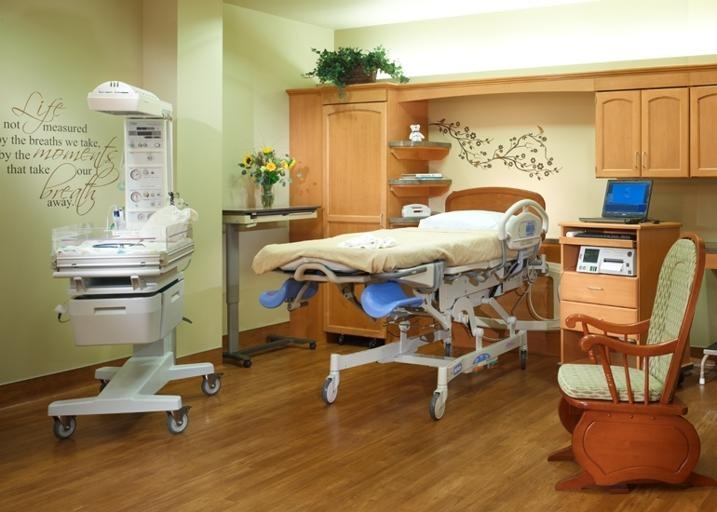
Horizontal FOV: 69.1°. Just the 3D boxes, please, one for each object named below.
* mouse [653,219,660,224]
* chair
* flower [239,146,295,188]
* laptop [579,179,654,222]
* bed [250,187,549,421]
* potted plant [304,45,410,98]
[{"bbox_3d":[2.462,-0.289,4.300,0.063,0.027,0.097,6,9,42],"label":"mouse"},{"bbox_3d":[1.441,0.544,2.801,0.670,1.324,0.588,2,8,18],"label":"chair"},{"bbox_3d":[-0.950,-0.956,5.486,0.707,0.433,0.428,-6,9,-36],"label":"flower"},{"bbox_3d":[2.186,-0.466,4.325,0.402,0.353,0.540,6,10,43],"label":"laptop"},{"bbox_3d":[0.476,0.323,4.117,1.104,1.503,2.237,6,10,43],"label":"bed"},{"bbox_3d":[0.019,-1.935,5.458,1.000,0.355,0.752,0,1,4],"label":"potted plant"}]
